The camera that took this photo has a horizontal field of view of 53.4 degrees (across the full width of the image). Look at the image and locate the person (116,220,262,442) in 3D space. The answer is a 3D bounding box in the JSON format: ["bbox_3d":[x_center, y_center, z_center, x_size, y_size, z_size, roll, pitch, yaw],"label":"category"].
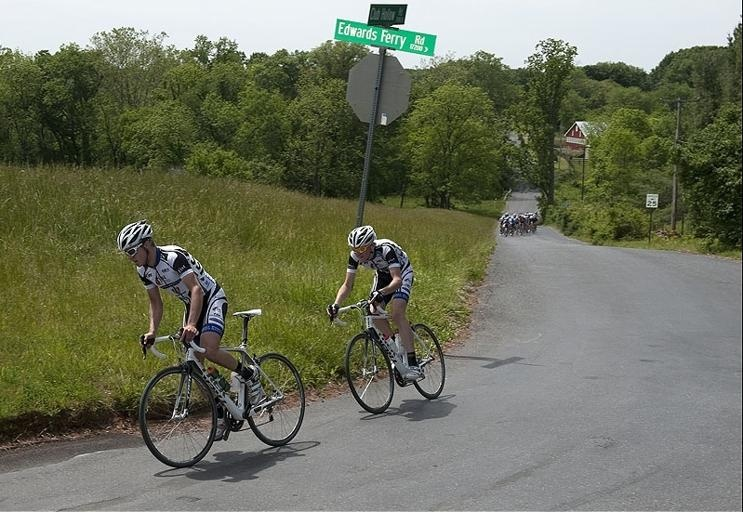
[{"bbox_3d":[-2.319,0.953,9.501,1.471,2.806,0.828,1,10,12],"label":"person"}]

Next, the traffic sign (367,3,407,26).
[{"bbox_3d":[0.274,-4.191,12.852,0.679,0.374,0.182,4,11,25],"label":"traffic sign"}]

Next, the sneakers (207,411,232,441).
[{"bbox_3d":[-1.949,2.233,9.491,0.101,0.294,0.201,13,-12,-37],"label":"sneakers"}]

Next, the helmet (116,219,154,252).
[{"bbox_3d":[-2.922,-0.264,9.291,0.344,0.257,0.519,-4,21,33],"label":"helmet"}]

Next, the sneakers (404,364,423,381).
[{"bbox_3d":[0.630,1.777,11.122,0.137,0.173,0.305,-20,-23,39],"label":"sneakers"}]

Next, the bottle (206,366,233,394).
[{"bbox_3d":[-1.969,1.585,9.520,0.158,0.388,0.214,-29,40,17],"label":"bottle"}]

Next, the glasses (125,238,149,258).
[{"bbox_3d":[-2.908,-0.090,9.202,0.184,0.070,0.234,-24,14,43],"label":"glasses"}]

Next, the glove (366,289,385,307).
[{"bbox_3d":[0.060,0.633,11.046,0.322,0.163,0.436,1,-11,3],"label":"glove"}]

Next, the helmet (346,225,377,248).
[{"bbox_3d":[-0.142,-0.260,10.854,0.346,0.370,0.523,-1,11,4],"label":"helmet"}]

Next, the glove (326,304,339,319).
[{"bbox_3d":[-0.559,0.804,10.663,0.168,0.224,0.374,-2,11,-3],"label":"glove"}]
